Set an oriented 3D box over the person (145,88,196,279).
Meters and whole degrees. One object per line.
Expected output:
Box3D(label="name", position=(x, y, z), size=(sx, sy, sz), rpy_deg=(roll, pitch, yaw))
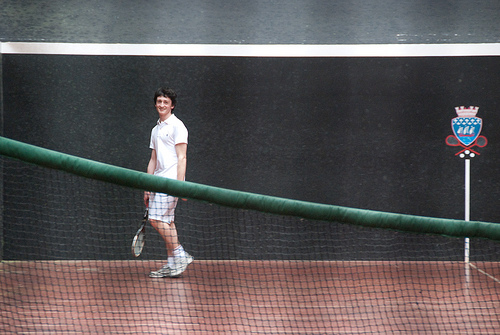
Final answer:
Box3D(label="person", position=(-0.835, 0.203, 9.357), size=(0.525, 1.951, 1.085), rpy_deg=(0, 25, -5))
